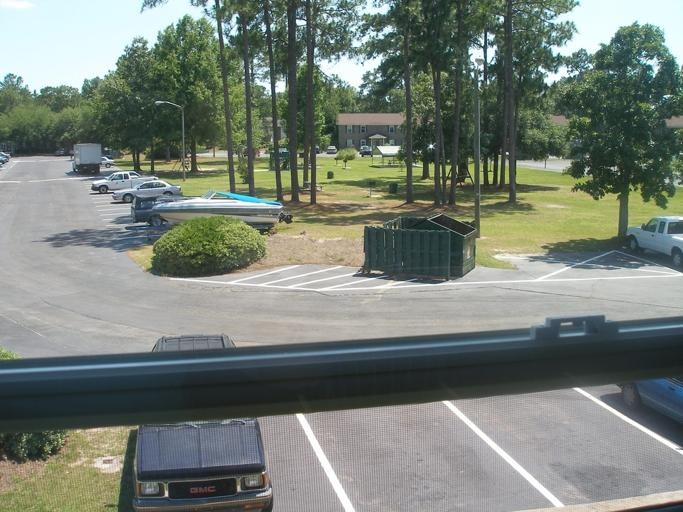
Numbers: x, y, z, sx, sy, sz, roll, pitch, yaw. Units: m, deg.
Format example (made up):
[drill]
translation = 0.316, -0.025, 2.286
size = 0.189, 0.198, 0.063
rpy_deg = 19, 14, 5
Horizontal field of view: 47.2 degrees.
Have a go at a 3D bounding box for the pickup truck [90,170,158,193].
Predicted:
[pickup truck]
translation = -10.390, -3.261, 37.657
size = 3.198, 1.056, 1.410
rpy_deg = -5, 12, -21

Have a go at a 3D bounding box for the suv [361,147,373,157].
[suv]
translation = 2.870, -12.116, 90.619
size = 1.364, 0.922, 2.120
rpy_deg = -2, 15, -1

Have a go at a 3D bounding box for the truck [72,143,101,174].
[truck]
translation = -17.174, -6.478, 52.688
size = 1.575, 1.795, 2.561
rpy_deg = -9, 4, -24

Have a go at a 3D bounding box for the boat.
[boat]
translation = -3.117, -1.240, 21.116
size = 3.955, 1.211, 1.288
rpy_deg = 1, 6, -1

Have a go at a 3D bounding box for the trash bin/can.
[trash bin/can]
translation = 1.783, -0.243, 12.775
size = 1.072, 0.734, 1.099
rpy_deg = 2, 9, 18
